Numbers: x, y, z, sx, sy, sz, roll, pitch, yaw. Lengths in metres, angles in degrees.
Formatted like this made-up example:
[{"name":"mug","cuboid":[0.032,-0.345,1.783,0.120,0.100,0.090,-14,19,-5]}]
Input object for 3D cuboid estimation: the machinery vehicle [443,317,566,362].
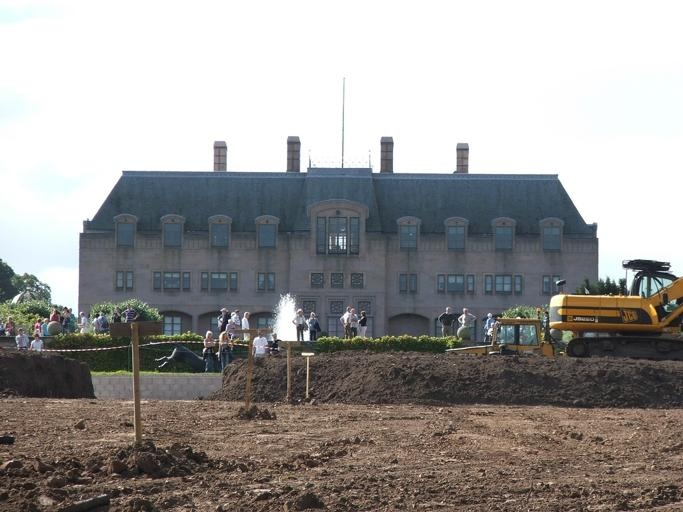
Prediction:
[{"name":"machinery vehicle","cuboid":[6.217,3.195,61.276,4.215,2.205,1.682,1,-2,0]}]
